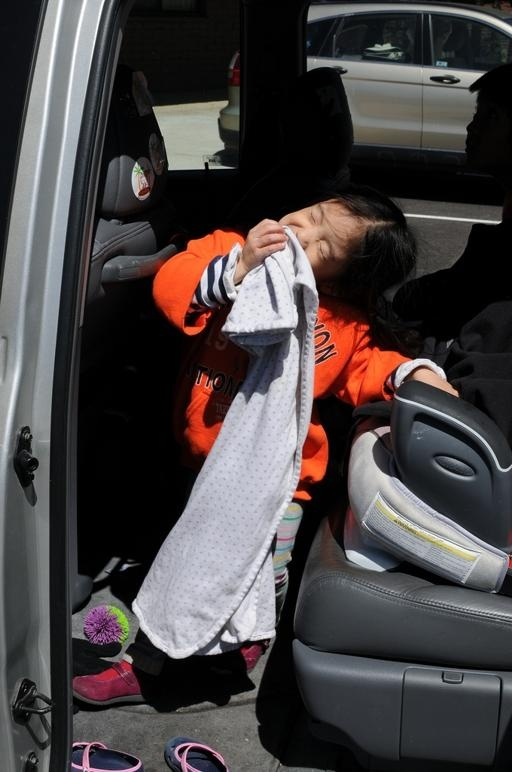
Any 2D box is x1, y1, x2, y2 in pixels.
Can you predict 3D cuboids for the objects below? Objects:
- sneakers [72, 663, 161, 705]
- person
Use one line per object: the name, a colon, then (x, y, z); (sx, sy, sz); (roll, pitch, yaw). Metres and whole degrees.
sneakers: (-0.336, 0.706, 1.534); (0.187, 0.094, 0.081); (10, -6, -14)
person: (0.058, 0.113, 1.370); (0.523, 1.037, 0.339); (21, -14, -7)
